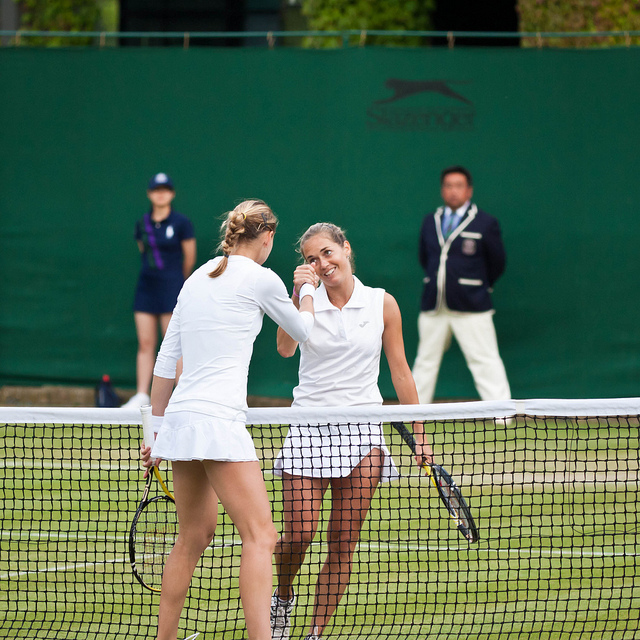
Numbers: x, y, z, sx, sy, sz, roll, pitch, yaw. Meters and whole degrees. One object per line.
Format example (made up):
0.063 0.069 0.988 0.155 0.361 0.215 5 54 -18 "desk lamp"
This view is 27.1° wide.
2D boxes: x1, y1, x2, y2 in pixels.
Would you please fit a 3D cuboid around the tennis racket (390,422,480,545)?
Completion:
0.716 1.033 8.362 0.075 0.246 0.850 -25 46 -5 "tennis racket"

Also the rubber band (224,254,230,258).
-0.473 -0.331 6.661 0.028 0.011 0.028 2 13 2 "rubber band"

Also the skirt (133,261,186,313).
-1.343 -0.292 11.106 0.320 0.542 0.275 12 -12 9 "skirt"

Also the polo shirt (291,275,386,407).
0.118 0.188 7.242 0.480 0.845 0.475 -3 -31 19 "polo shirt"

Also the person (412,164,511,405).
1.170 -0.271 11.372 0.784 2.352 0.599 6 25 20 "person"

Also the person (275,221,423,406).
0.118 -0.031 7.180 0.752 0.950 0.718 -3 13 -18 "person"

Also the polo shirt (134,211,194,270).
-1.400 -0.687 11.639 0.459 0.621 0.306 -1 -5 4 "polo shirt"

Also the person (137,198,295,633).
-0.510 0.609 6.612 0.760 2.337 0.899 -1 11 -9 "person"

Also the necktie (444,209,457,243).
1.079 -0.785 11.176 0.048 0.349 0.037 6 -11 21 "necktie"
